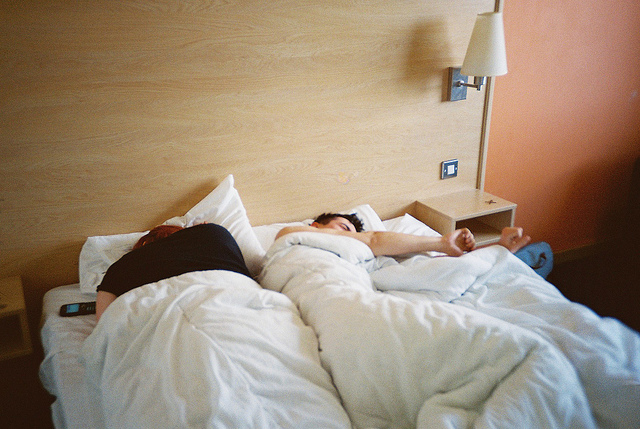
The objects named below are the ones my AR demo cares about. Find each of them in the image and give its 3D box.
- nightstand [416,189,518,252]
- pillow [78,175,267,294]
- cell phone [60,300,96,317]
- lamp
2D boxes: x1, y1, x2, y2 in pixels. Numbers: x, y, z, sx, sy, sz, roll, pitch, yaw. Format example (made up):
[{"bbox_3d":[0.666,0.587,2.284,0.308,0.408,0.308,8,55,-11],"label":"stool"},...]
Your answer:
[{"bbox_3d":[0.989,0.025,3.224,0.597,0.222,0.388,-8,25,-24],"label":"nightstand"},{"bbox_3d":[-0.859,0.152,2.673,0.811,0.225,0.645,-19,59,-14],"label":"pillow"},{"bbox_3d":[-1.236,0.488,2.408,0.174,0.021,0.072,-2,37,-17],"label":"cell phone"},{"bbox_3d":[1.022,-1.017,2.930,0.317,0.429,0.282,-4,25,-6],"label":"lamp"}]
